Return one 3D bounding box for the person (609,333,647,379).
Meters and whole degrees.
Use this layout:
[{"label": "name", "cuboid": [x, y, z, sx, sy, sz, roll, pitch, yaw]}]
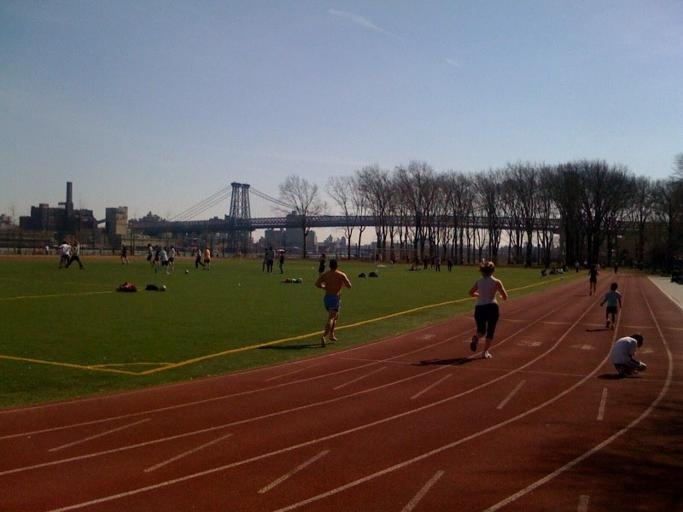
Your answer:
[{"label": "person", "cuboid": [6.263, 2.144, 14.209, 0.631, 0.991, 0.735, 12, -4, 3]}]
